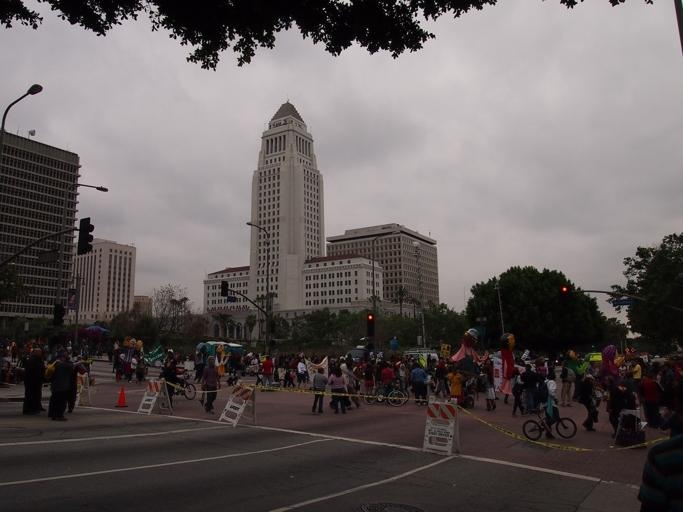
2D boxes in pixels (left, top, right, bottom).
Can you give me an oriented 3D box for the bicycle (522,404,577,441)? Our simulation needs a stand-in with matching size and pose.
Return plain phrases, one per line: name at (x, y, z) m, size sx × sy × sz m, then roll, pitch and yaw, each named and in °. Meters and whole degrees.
bicycle at (6.598, 5.279, 17.828) m, size 1.476 × 0.975 × 3.607 m, roll -4°, pitch -16°, yaw 21°
